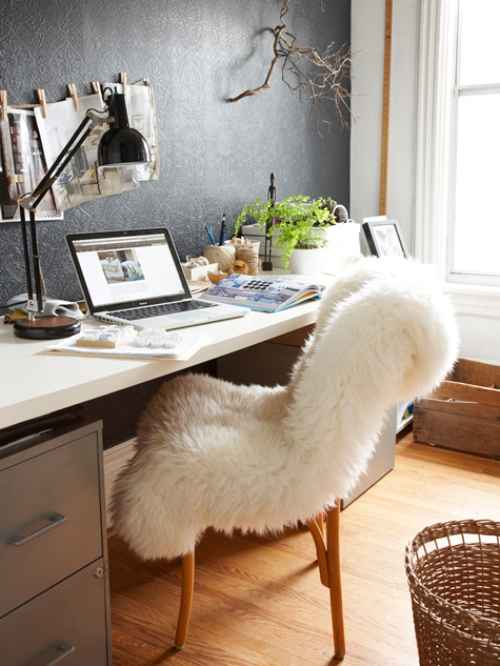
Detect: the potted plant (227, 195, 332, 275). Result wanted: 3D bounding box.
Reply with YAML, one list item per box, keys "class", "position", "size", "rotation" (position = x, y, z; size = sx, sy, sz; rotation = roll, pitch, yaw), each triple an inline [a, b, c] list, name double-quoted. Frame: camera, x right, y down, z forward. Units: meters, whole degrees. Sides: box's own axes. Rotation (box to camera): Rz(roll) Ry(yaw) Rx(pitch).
- class: "potted plant"
  position: [0.167, -0.394, 1.972]
  size: [0.310, 0.190, 0.307]
  rotation: [6, 19, 25]

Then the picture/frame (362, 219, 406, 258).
- class: "picture/frame"
  position: [0.592, -0.418, 2.406]
  size: [0.143, 0.162, 0.271]
  rotation: [5, 11, 31]

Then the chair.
- class: "chair"
  position: [0.082, 0.157, 1.378]
  size: [0.902, 0.965, 0.688]
  rotation: [0, 11, 0]

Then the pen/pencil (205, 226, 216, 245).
- class: "pen/pencil"
  position: [-0.138, -0.350, 1.949]
  size: [0.018, 0.093, 0.028]
  rotation: [21, 55, 20]

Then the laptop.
- class: "laptop"
  position: [-0.239, -0.144, 1.322]
  size: [0.321, 0.202, 0.316]
  rotation: [11, 18, 39]

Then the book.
- class: "book"
  position: [0.029, -0.111, 1.472]
  size: [0.168, 0.044, 0.188]
  rotation: [12, 22, 33]
